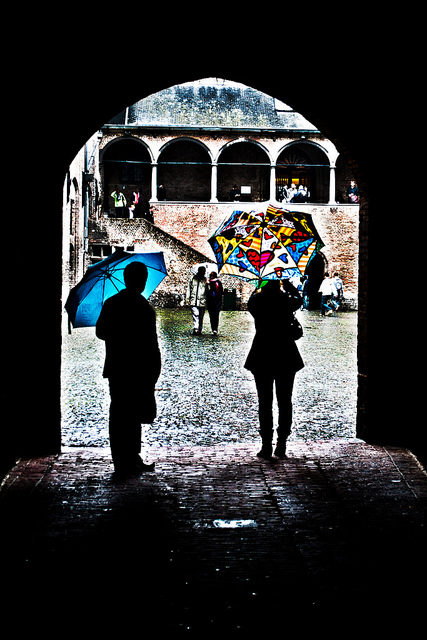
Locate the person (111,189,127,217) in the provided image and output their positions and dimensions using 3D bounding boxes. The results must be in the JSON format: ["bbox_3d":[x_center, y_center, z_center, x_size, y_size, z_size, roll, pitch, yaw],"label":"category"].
[{"bbox_3d":[-4.021,-5.058,33.890,0.544,1.366,2.334,0,4,-8],"label":"person"}]

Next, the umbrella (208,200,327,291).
[{"bbox_3d":[0.978,-1.541,14.636,2.107,0.760,2.101,-37,49,-28],"label":"umbrella"}]

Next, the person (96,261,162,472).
[{"bbox_3d":[-0.604,0.335,5.651,0.462,1.504,0.281,0,3,-6],"label":"person"}]

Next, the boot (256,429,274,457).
[{"bbox_3d":[0.416,0.965,6.185,0.116,0.203,0.223,1,3,2],"label":"boot"}]

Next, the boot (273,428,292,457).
[{"bbox_3d":[0.558,0.959,6.247,0.120,0.212,0.247,1,4,6],"label":"boot"}]

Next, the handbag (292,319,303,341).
[{"bbox_3d":[0.681,0.089,6.332,0.104,0.127,0.138,2,-23,-6],"label":"handbag"}]

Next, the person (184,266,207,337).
[{"bbox_3d":[-0.334,-0.438,17.342,0.434,1.494,0.969,0,3,-1],"label":"person"}]
